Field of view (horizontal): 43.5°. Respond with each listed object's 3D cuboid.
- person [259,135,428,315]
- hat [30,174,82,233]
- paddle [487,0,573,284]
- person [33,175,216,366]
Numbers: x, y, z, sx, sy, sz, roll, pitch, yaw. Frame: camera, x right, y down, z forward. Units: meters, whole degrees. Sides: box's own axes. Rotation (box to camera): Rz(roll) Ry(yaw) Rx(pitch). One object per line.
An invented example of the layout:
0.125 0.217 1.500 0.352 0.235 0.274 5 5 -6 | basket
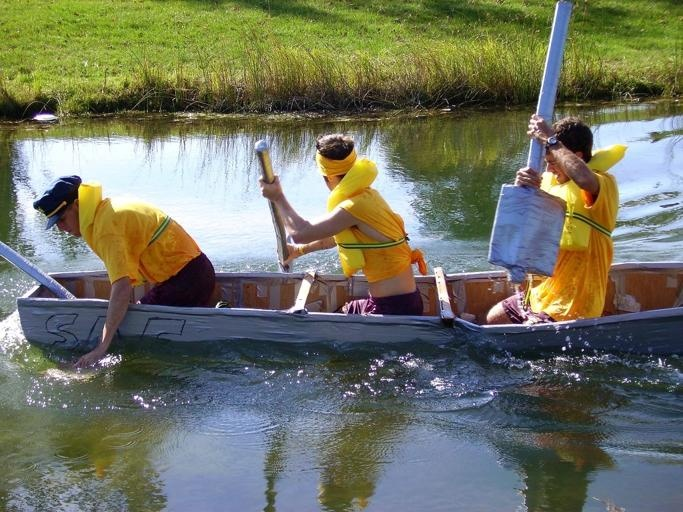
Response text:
0.108 -0.223 7.410 1.298 1.637 0.658 3 21 4 | person
-2.408 -0.459 7.381 0.177 0.464 0.356 44 -9 -36 | hat
1.611 -0.829 7.043 0.585 2.485 0.632 7 22 12 | paddle
-1.870 0.076 7.630 1.294 1.626 0.701 -15 26 -39 | person
